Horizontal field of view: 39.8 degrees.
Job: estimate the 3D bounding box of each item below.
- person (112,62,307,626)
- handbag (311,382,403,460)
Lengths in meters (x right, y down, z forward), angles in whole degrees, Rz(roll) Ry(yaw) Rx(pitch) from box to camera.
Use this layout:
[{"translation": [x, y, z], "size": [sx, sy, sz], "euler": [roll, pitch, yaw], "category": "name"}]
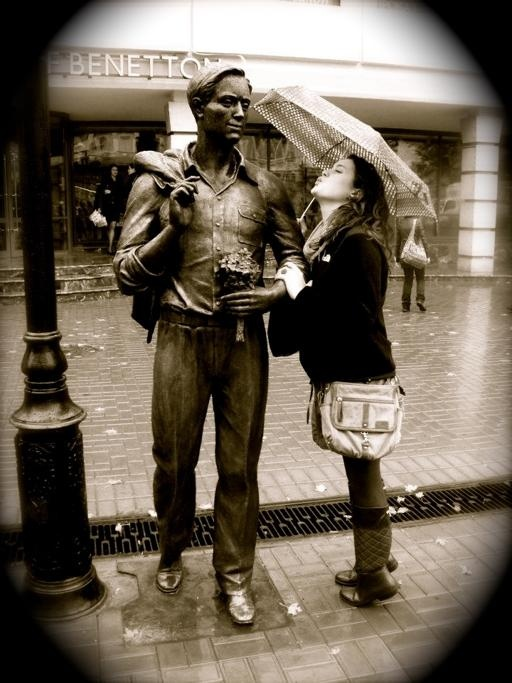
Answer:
[{"translation": [-0.183, 0.048, 2.978], "size": [0.791, 2.278, 0.508], "euler": [-2, 10, -12], "category": "person"}, {"translation": [0.415, 0.340, 3.062], "size": [0.289, 0.355, 0.371], "euler": [2, -5, -13], "category": "handbag"}]
